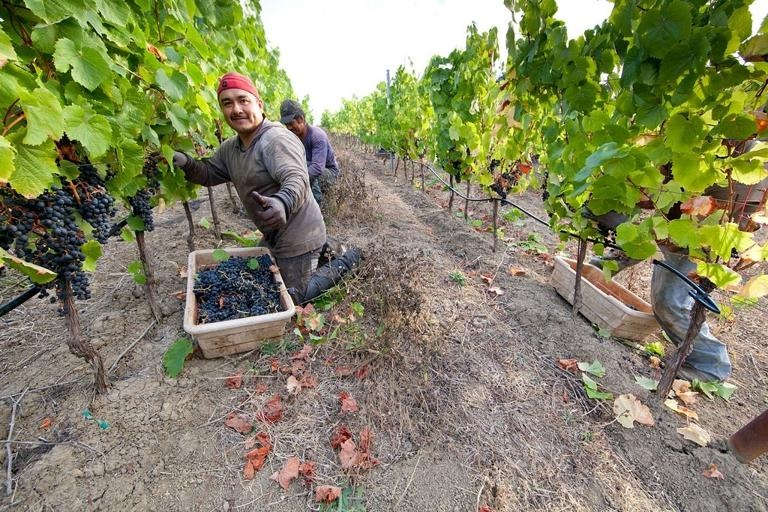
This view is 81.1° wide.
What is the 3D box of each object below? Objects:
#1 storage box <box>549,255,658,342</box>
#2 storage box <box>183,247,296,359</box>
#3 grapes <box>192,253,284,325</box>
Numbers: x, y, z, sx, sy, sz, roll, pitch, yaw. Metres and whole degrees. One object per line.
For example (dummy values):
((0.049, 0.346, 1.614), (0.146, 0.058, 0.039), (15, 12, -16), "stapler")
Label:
((2.194, 0.481, 4.625), (0.575, 0.368, 0.987), (-6, 35, -23), "storage box")
((-1.256, 0.434, 3.865), (0.661, 0.667, 0.916), (23, 7, 18), "storage box")
((-1.290, 0.277, 3.950), (0.608, 0.221, 0.622), (-7, 47, -19), "grapes")
